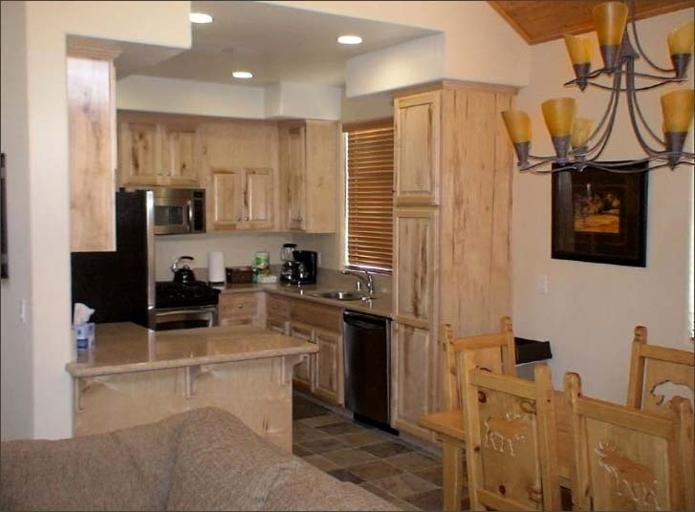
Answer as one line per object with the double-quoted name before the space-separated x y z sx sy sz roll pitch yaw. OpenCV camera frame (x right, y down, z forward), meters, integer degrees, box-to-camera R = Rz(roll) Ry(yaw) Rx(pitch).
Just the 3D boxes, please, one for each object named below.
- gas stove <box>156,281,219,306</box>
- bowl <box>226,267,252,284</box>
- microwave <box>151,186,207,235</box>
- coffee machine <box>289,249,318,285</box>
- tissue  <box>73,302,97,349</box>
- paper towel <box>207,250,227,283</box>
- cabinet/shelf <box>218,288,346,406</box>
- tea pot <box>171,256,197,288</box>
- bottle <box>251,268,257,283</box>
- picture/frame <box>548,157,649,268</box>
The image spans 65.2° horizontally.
"gas stove" -1.476 0.356 4.899 0.626 0.192 0.456 -1 3 -33
"bowl" -1.104 0.205 5.534 0.279 0.153 0.139 0 3 -9
"microwave" -1.590 -0.370 5.074 0.595 0.492 0.396 -1 2 -40
"coffee machine" -0.420 0.117 5.549 0.328 0.447 0.305 3 -2 -33
"tissue " -1.312 0.353 2.692 0.091 0.232 0.218 -1 3 -26
"paper towel" -1.325 0.118 5.531 0.195 0.327 0.185 -1 3 -30
"cabinet/shelf" -0.514 0.655 4.839 0.939 1.032 1.690 1 2 -30
"tea pot" -1.601 0.144 5.251 0.332 0.304 0.232 1 4 -19
"bottle" -0.965 0.202 5.610 0.062 0.138 0.175 0 2 -9
"picture/frame" 1.461 -0.253 3.188 0.667 0.564 0.055 1 2 -14
